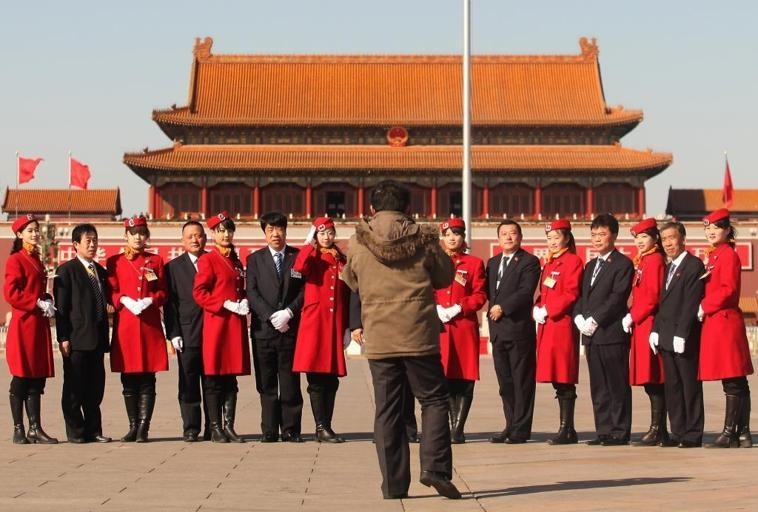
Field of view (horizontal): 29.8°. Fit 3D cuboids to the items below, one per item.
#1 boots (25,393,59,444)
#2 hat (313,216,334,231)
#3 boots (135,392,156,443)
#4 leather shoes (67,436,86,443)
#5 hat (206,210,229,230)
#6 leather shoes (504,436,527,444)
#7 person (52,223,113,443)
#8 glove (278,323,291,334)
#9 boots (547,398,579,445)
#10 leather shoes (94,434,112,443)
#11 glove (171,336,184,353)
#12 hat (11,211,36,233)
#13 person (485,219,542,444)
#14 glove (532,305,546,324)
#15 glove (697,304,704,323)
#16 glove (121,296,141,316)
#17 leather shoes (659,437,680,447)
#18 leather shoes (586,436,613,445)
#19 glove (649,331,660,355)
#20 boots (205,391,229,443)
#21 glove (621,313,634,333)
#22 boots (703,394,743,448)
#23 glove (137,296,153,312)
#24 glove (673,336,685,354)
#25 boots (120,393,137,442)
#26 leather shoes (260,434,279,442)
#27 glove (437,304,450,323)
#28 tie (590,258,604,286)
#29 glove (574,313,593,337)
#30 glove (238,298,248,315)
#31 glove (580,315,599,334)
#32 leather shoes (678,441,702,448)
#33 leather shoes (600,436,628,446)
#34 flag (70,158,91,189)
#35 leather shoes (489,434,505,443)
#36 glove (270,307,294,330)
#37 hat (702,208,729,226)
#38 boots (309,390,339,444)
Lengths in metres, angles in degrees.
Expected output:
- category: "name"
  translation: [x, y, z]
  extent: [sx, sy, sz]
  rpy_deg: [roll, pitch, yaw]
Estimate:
- category: "boots"
  translation: [-4.335, 2.078, 18.305]
  extent: [0.392, 0.636, 0.495]
  rpy_deg: [-2, -2, -14]
- category: "hat"
  translation: [-0.766, -0.448, 18.494]
  extent: [0.240, 0.103, 0.272]
  rpy_deg: [0, -4, -28]
- category: "boots"
  translation: [-3.019, 2.063, 18.301]
  extent: [0.165, 0.622, 0.269]
  rpy_deg: [-3, -2, 28]
- category: "leather shoes"
  translation: [-3.859, 2.340, 18.180]
  extent: [0.196, 0.089, 0.125]
  rpy_deg: [-1, -1, -10]
- category: "hat"
  translation: [-2.130, -0.485, 18.725]
  extent: [0.293, 0.151, 0.312]
  rpy_deg: [-23, 2, -29]
- category: "leather shoes"
  translation: [1.725, 2.347, 18.222]
  extent: [0.286, 0.106, 0.090]
  rpy_deg: [0, -8, 0]
- category: "person"
  translation: [-3.834, 0.980, 18.433]
  extent: [0.699, 2.812, 0.465]
  rpy_deg: [-2, -2, -10]
- category: "glove"
  translation: [-1.227, 0.920, 18.283]
  extent: [0.126, 0.110, 0.032]
  rpy_deg: [5, 0, -19]
- category: "boots"
  translation: [2.355, 2.115, 18.451]
  extent: [0.365, 0.566, 0.700]
  rpy_deg: [-2, -1, 7]
- category: "leather shoes"
  translation: [-3.535, 2.344, 18.266]
  extent: [0.219, 0.080, 0.088]
  rpy_deg: [1, 0, 4]
- category: "glove"
  translation: [-2.600, 1.142, 18.497]
  extent: [0.203, 0.181, 0.178]
  rpy_deg: [-11, -26, 9]
- category: "hat"
  translation: [-4.708, -0.473, 18.686]
  extent: [0.391, 0.133, 0.301]
  rpy_deg: [-28, -11, 34]
- category: "person"
  translation: [1.714, 0.947, 18.508]
  extent: [0.691, 2.891, 0.697]
  rpy_deg: [-3, -2, 20]
- category: "glove"
  translation: [2.083, 0.763, 18.510]
  extent: [0.172, 0.205, 0.069]
  rpy_deg: [0, 4, 26]
- category: "glove"
  translation: [4.022, 0.717, 17.976]
  extent: [0.071, 0.162, 0.125]
  rpy_deg: [-5, -11, 3]
- category: "glove"
  translation: [-3.220, 0.625, 18.369]
  extent: [0.305, 0.168, 0.083]
  rpy_deg: [34, 21, 22]
- category: "leather shoes"
  translation: [3.639, 2.338, 18.039]
  extent: [0.276, 0.128, 0.166]
  rpy_deg: [-2, -1, 9]
- category: "leather shoes"
  translation: [2.806, 2.353, 18.176]
  extent: [0.354, 0.129, 0.113]
  rpy_deg: [1, 1, 16]
- category: "glove"
  translation: [3.476, 1.092, 18.160]
  extent: [0.073, 0.209, 0.171]
  rpy_deg: [4, -2, -43]
- category: "boots"
  translation: [-2.092, 2.049, 18.310]
  extent: [0.270, 0.660, 0.246]
  rpy_deg: [-2, -2, -12]
- category: "glove"
  translation: [3.158, 0.858, 18.280]
  extent: [0.076, 0.211, 0.168]
  rpy_deg: [13, -5, -26]
- category: "boots"
  translation: [4.339, 2.066, 17.940]
  extent: [0.430, 0.676, 0.180]
  rpy_deg: [-2, -2, 12]
- category: "glove"
  translation: [-3.023, 0.607, 18.421]
  extent: [0.188, 0.172, 0.115]
  rpy_deg: [-1, -2, -28]
- category: "glove"
  translation: [3.757, 1.110, 17.933]
  extent: [0.142, 0.219, 0.113]
  rpy_deg: [-3, -2, 21]
- category: "boots"
  translation: [-3.223, 2.073, 18.387]
  extent: [0.220, 0.602, 0.397]
  rpy_deg: [-2, -2, -10]
- category: "leather shoes"
  translation: [-1.415, 2.329, 18.298]
  extent: [0.229, 0.103, 0.132]
  rpy_deg: [-2, -1, -5]
- category: "glove"
  translation: [0.804, 0.728, 18.312]
  extent: [0.225, 0.265, 0.074]
  rpy_deg: [-4, -17, -1]
- category: "tie"
  translation: [2.797, 0.212, 18.435]
  extent: [0.056, 0.358, 0.102]
  rpy_deg: [22, -15, 13]
- category: "glove"
  translation: [2.616, 0.877, 18.288]
  extent: [0.207, 0.244, 0.108]
  rpy_deg: [-13, -16, 29]
- category: "glove"
  translation: [-1.750, 0.658, 18.442]
  extent: [0.170, 0.157, 0.058]
  rpy_deg: [2, 2, -44]
- category: "glove"
  translation: [2.673, 0.884, 18.250]
  extent: [0.182, 0.215, 0.083]
  rpy_deg: [0, -2, 19]
- category: "leather shoes"
  translation: [3.886, 2.371, 17.909]
  extent: [0.270, 0.101, 0.092]
  rpy_deg: [-1, -7, 1]
- category: "leather shoes"
  translation: [2.963, 2.342, 18.094]
  extent: [0.410, 0.118, 0.159]
  rpy_deg: [2, -3, -8]
- category: "flag"
  translation: [-9.556, -2.632, 45.472]
  extent: [0.533, 0.920, 0.862]
  rpy_deg: [-2, -1, -9]
- category: "leather shoes"
  translation: [1.501, 2.333, 18.310]
  extent: [0.186, 0.116, 0.277]
  rpy_deg: [-1, -1, -12]
- category: "glove"
  translation: [-1.239, 0.785, 18.260]
  extent: [0.146, 0.275, 0.209]
  rpy_deg: [2, -34, 25]
- category: "hat"
  translation: [4.266, -0.502, 18.222]
  extent: [0.269, 0.128, 0.320]
  rpy_deg: [-14, 4, -6]
- category: "boots"
  translation: [-0.710, 2.058, 18.303]
  extent: [0.365, 0.637, 0.248]
  rpy_deg: [-2, -2, -4]
